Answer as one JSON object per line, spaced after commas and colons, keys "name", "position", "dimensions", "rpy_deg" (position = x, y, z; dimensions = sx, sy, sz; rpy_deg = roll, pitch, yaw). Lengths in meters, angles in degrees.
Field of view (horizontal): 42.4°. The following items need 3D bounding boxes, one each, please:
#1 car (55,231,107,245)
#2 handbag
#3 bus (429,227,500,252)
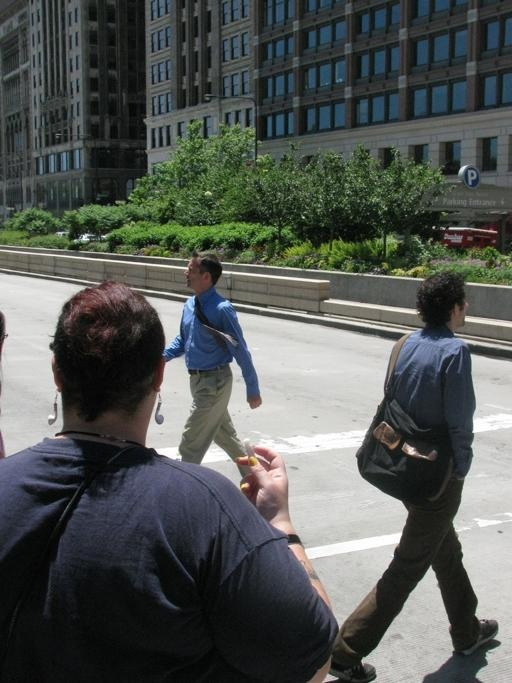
{"name": "car", "position": [-11.334, -6.885, 44.619], "dimensions": [2.008, 0.878, 5.160], "rpy_deg": [2, 6, -15]}
{"name": "handbag", "position": [0.759, 0.561, 3.317], "dimensions": [0.455, 0.451, 0.162], "rpy_deg": [10, 9, 39]}
{"name": "bus", "position": [10.629, -5.194, 33.198], "dimensions": [3.564, 1.262, 2.236], "rpy_deg": [-4, 7, -40]}
